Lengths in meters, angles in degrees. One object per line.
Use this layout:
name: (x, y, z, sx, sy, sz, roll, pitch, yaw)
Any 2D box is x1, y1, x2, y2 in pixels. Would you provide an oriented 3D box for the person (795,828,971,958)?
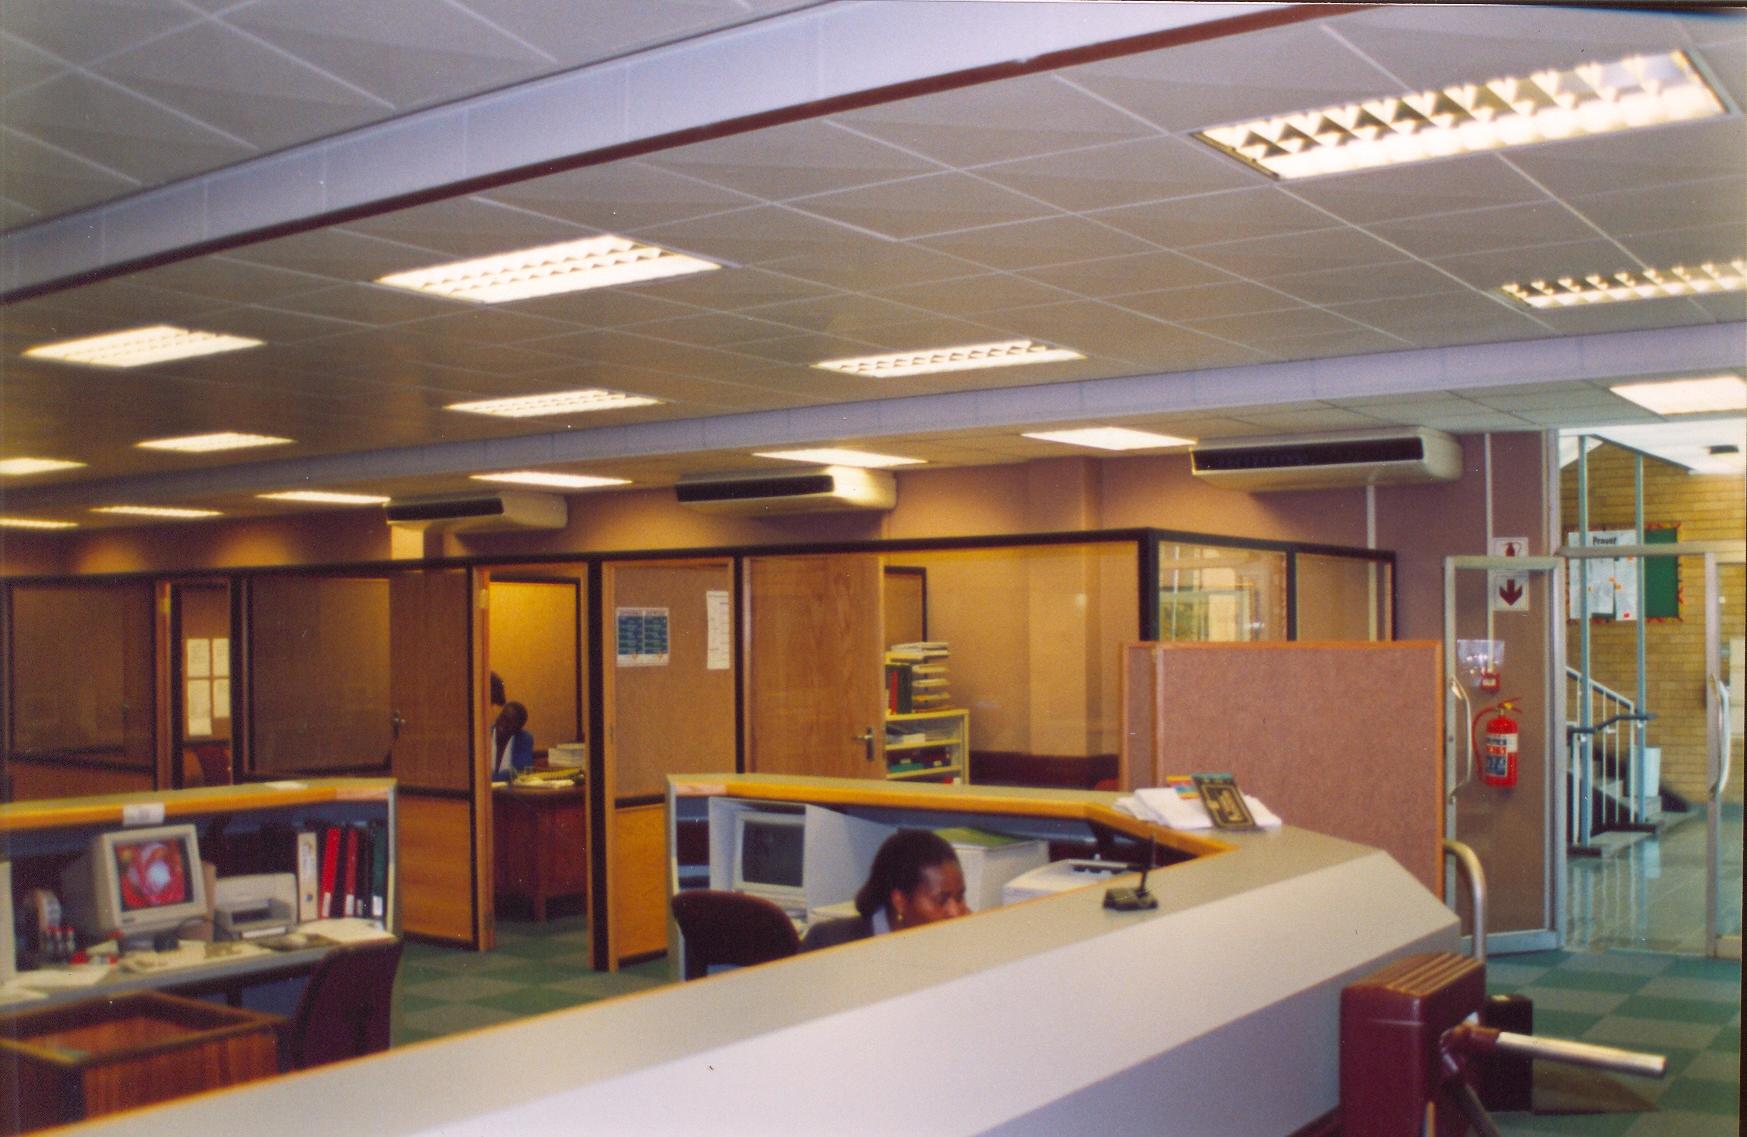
person: (0.142, 1.248, 5.271, 0.645, 0.633, 0.469, -7, -6, 24)

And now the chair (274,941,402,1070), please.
chair: (-2.084, 1.743, 5.367, 0.244, 0.495, 0.491, -8, -3, 30)

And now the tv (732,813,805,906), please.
tv: (-0.488, 1.414, 6.495, 0.497, 0.441, 0.282, -4, -3, 38)

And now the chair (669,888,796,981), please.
chair: (-0.569, 1.457, 5.282, 0.347, 0.277, 0.650, -4, -3, -32)

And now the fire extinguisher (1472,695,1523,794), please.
fire extinguisher: (4.408, 1.242, 9.306, 0.385, 0.639, 0.233, -5, -3, -21)

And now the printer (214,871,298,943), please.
printer: (-2.865, 1.553, 6.205, 0.260, 0.260, 0.465, -8, -8, 41)

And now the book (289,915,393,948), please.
book: (-2.430, 1.660, 6.101, 0.299, 0.059, 0.303, -1, -4, 39)
